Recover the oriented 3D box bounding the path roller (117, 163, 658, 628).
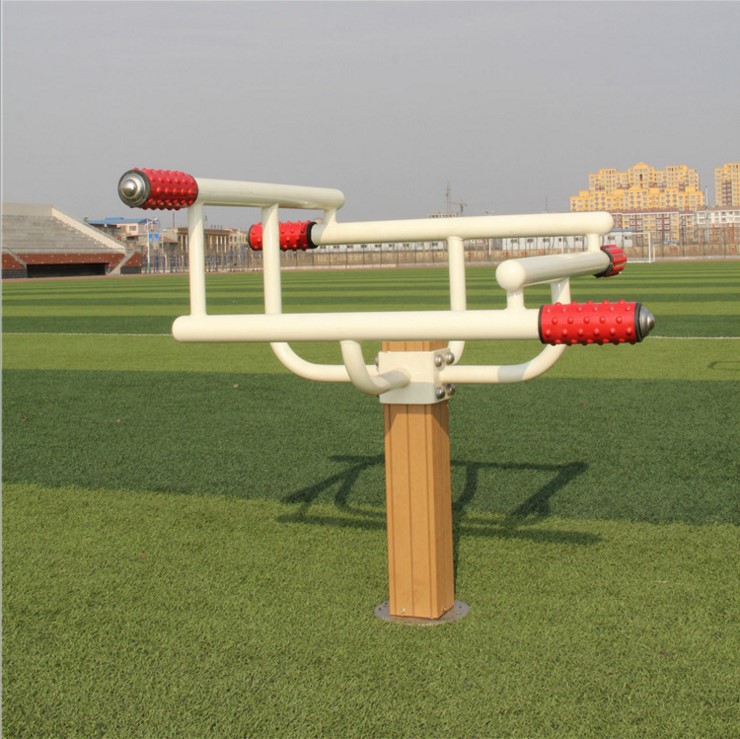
[{"bbox_3d":[0.087,0.215,4.310,2.108,1.694,1.977,0,2,16],"label":"path roller"}]
